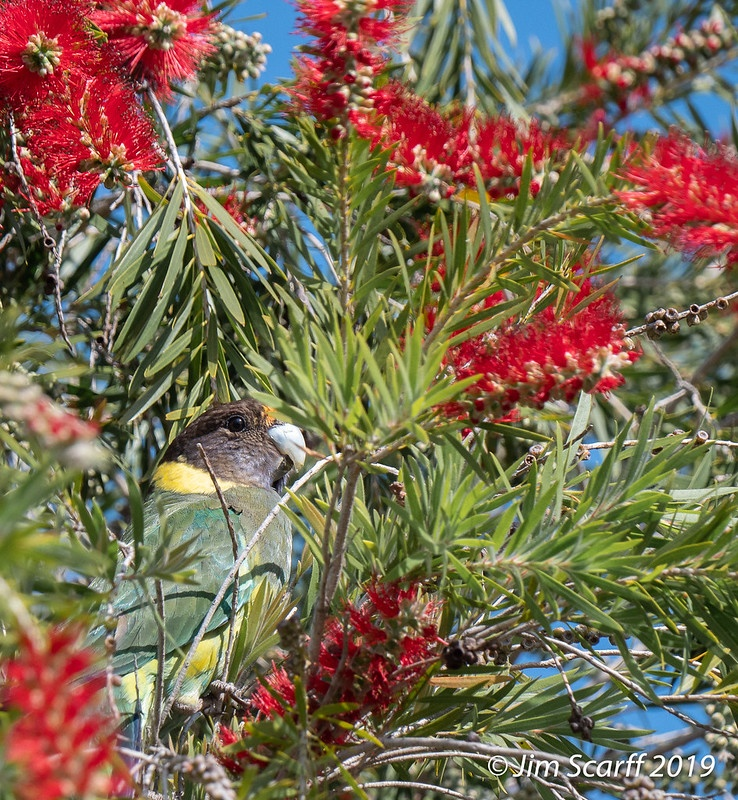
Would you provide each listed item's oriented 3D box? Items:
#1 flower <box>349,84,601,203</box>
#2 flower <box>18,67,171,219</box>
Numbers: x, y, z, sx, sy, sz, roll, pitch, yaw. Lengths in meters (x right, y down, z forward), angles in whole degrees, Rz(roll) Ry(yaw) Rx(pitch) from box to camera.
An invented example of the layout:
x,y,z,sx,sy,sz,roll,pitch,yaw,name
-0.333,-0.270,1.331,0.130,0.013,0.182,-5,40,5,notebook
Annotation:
x,y,z,sx,sy,sz,roll,pitch,yaw,name
0.150,-0.371,2.140,0.232,0.242,0.111,21,87,37,flower
-0.448,-0.430,2.360,0.219,0.210,0.182,-8,102,11,flower
